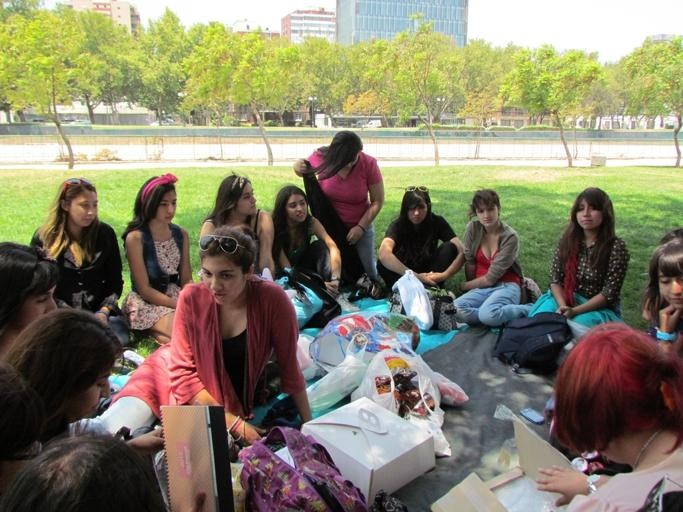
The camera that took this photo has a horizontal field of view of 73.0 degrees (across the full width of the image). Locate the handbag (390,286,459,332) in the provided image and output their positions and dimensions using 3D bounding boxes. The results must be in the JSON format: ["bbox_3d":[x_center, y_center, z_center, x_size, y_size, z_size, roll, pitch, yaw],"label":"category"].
[{"bbox_3d":[0.983,0.625,5.407,0.620,0.250,0.484,4,30,0],"label":"handbag"}]

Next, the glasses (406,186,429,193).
[{"bbox_3d":[1.007,-0.868,6.168,0.272,0.093,0.190,-4,8,6],"label":"glasses"}]

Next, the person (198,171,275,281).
[{"bbox_3d":[-1.211,-0.431,5.801,1.005,1.512,1.144,-6,11,-25],"label":"person"}]

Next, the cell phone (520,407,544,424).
[{"bbox_3d":[1.560,1.314,3.784,0.107,0.033,0.105,-3,19,-35],"label":"cell phone"}]

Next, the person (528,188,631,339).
[{"bbox_3d":[2.584,0.000,4.955,0.836,1.422,0.722,1,10,31],"label":"person"}]

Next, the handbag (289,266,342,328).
[{"bbox_3d":[-0.318,0.458,5.470,0.250,0.675,0.564,-42,-9,32],"label":"handbag"}]
